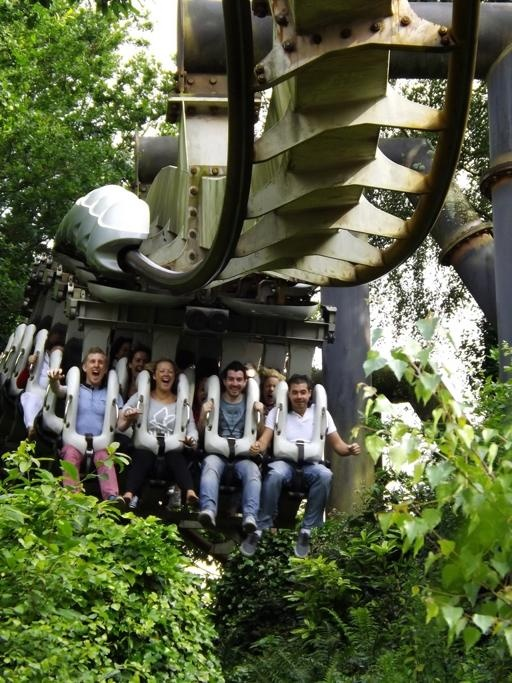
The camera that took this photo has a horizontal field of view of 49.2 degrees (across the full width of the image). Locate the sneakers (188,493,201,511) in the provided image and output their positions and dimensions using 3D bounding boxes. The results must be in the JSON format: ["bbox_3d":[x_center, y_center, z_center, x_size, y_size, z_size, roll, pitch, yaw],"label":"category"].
[{"bbox_3d":[-0.648,1.661,5.803,0.142,0.146,0.336,7,-10,-2],"label":"sneakers"}]

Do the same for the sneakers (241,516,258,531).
[{"bbox_3d":[-0.082,1.908,5.865,0.146,0.169,0.242,6,-10,1],"label":"sneakers"}]

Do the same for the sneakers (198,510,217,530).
[{"bbox_3d":[-0.512,1.831,5.781,0.108,0.115,0.270,-12,-43,-3],"label":"sneakers"}]
